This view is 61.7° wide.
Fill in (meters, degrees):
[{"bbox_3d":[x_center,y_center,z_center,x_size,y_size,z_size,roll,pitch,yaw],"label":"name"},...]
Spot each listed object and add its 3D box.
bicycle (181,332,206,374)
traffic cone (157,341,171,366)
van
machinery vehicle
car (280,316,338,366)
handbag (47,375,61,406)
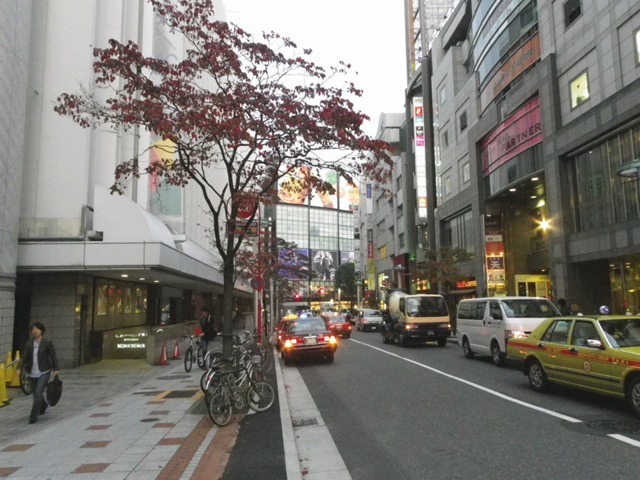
[{"bbox_3d":[-4.644,4.262,20.065,0.884,1.317,2.005,-2,-14,5],"label":"bicycle"},{"bbox_3d":[-6.387,4.637,21.457,0.529,0.858,0.598,1,-12,-8],"label":"traffic cone"},{"bbox_3d":[6.723,3.167,19.650,1.952,1.919,3.694,1,-17,-10],"label":"van"},{"bbox_3d":[4.756,4.080,29.181,1.875,3.167,5.858,0,-6,-9],"label":"machinery vehicle"},{"bbox_3d":[-0.474,4.075,21.404,1.991,1.780,1.200,-1,-3,-8],"label":"car"},{"bbox_3d":[-6.443,3.664,12.997,0.297,0.878,0.907,1,-4,-28],"label":"handbag"}]
